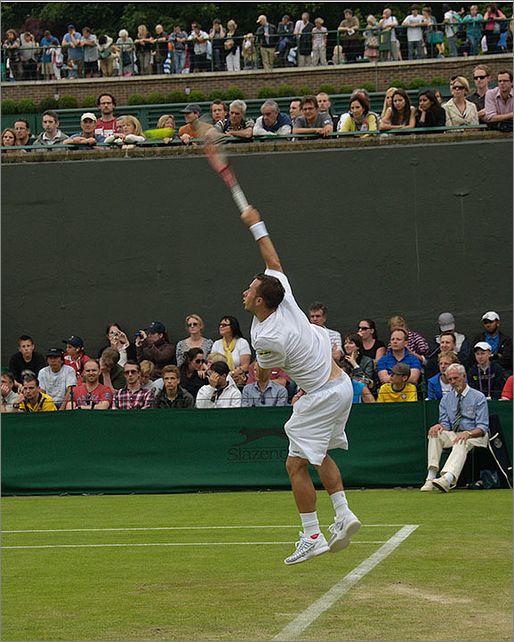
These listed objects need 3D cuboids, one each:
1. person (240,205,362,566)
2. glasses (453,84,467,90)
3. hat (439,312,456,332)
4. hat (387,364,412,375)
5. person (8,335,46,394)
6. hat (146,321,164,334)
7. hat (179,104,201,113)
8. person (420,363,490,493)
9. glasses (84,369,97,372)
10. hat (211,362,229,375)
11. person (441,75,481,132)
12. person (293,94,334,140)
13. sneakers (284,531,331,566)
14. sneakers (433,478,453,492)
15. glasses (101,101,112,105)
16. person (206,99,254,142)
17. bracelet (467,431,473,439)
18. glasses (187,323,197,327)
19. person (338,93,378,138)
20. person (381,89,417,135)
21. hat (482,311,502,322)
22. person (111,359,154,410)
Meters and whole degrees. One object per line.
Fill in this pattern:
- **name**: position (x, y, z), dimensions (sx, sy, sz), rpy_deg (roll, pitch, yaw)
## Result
- **person**: position (0.361, 0.730, 10.252), dimensions (0.793, 2.207, 0.684), rpy_deg (-3, 2, 2)
- **glasses**: position (2.584, -2.970, 16.807), dimensions (0.182, 0.051, 0.213), rpy_deg (-2, 2, 11)
- **hat**: position (2.318, 0.007, 16.059), dimensions (0.187, 0.135, 0.279), rpy_deg (-7, 11, 12)
- **hat**: position (1.606, 0.526, 14.550), dimensions (0.178, 0.091, 0.121), rpy_deg (4, 0, -21)
- **person**: position (-2.948, 0.509, 16.808), dimensions (0.693, 0.853, 0.643), rpy_deg (-2, 0, -7)
- **hat**: position (-1.259, 0.078, 16.497), dimensions (0.186, 0.089, 0.131), rpy_deg (4, -1, -28)
- **hat**: position (-0.831, -2.818, 17.350), dimensions (0.240, 0.103, 0.147), rpy_deg (6, -1, -24)
- **person**: position (2.086, 1.134, 14.027), dimensions (0.730, 1.349, 0.640), rpy_deg (-2, 3, 21)
- **glasses**: position (-1.878, 0.567, 15.163), dimensions (0.086, 0.048, 0.038), rpy_deg (-3, 2, -10)
- **hat**: position (-0.388, 0.522, 14.792), dimensions (0.144, 0.165, 0.303), rpy_deg (-1, 2, 36)
- **person**: position (2.702, -2.864, 17.365), dimensions (0.489, 0.619, 1.329), rpy_deg (-2, 2, 8)
- **person**: position (0.708, -2.743, 17.807), dimensions (0.530, 0.475, 0.712), rpy_deg (-2, 2, 19)
- **sneakers**: position (0.394, 1.733, 10.123), dimensions (0.344, 0.214, 0.134), rpy_deg (-2, 2, 1)
- **sneakers**: position (1.974, 1.718, 13.889), dimensions (0.113, 0.102, 0.270), rpy_deg (-44, -22, 6)
- **glasses**: position (-2.061, -3.006, 18.193), dimensions (0.129, 0.049, 0.189), rpy_deg (-2, 2, -4)
- **person**: position (-0.322, -2.602, 17.919), dimensions (0.653, 0.746, 0.495), rpy_deg (-5, 19, -2)
- **bracelet**: position (2.247, 1.186, 13.910), dimensions (0.044, 0.055, 0.064), rpy_deg (-1, -5, -8)
- **glasses**: position (-0.795, 0.044, 16.254), dimensions (0.126, 0.069, 0.048), rpy_deg (-1, 3, 42)
- **person**: position (1.394, -2.760, 17.948), dimensions (0.542, 0.560, 0.884), rpy_deg (-2, 2, 5)
- **person**: position (1.887, -2.788, 17.621), dimensions (0.493, 0.505, 0.891), rpy_deg (-2, 2, 6)
- **hat**: position (2.813, -0.079, 15.715), dimensions (0.160, 0.106, 0.232), rpy_deg (-5, -11, 25)
- **person**: position (-1.429, 0.716, 15.137), dimensions (0.595, 0.735, 0.528), rpy_deg (-2, -9, 5)
